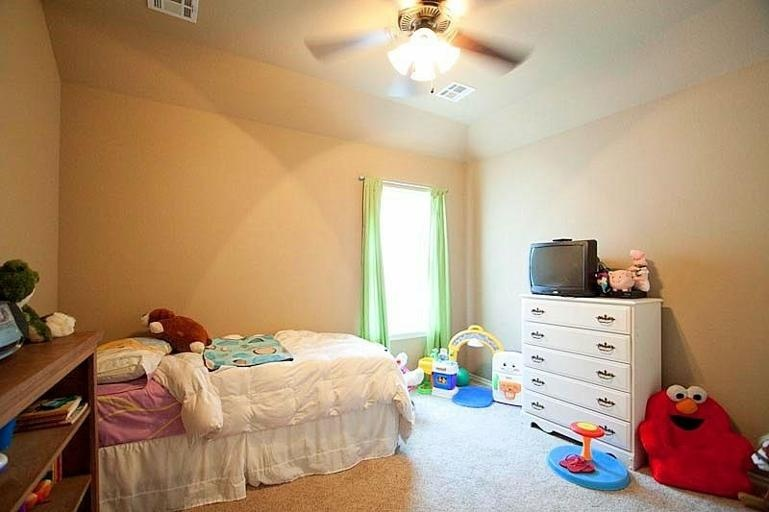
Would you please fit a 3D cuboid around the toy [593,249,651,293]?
[{"bbox_3d":[2.222,0.164,4.736,0.393,0.447,0.459,1,-3,9],"label":"toy"}]

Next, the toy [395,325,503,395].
[{"bbox_3d":[0.680,1.106,5.849,1.029,1.088,0.703,1,-4,-22],"label":"toy"}]

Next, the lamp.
[{"bbox_3d":[0.339,-1.714,4.133,0.534,0.591,0.587,1,2,7],"label":"lamp"}]

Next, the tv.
[{"bbox_3d":[1.797,0.106,5.011,0.363,0.559,0.636,1,-2,-41],"label":"tv"}]

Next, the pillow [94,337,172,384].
[{"bbox_3d":[-2.050,0.836,4.133,0.533,0.274,0.574,0,1,-24],"label":"pillow"}]

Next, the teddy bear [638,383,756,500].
[{"bbox_3d":[2.629,1.562,4.179,0.852,0.885,0.273,0,-34,25],"label":"teddy bear"}]

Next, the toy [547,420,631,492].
[{"bbox_3d":[1.746,1.619,4.243,0.518,0.307,0.524,-2,5,-6],"label":"toy"}]

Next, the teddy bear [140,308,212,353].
[{"bbox_3d":[-1.828,0.738,4.454,0.496,0.179,0.360,26,12,-26],"label":"teddy bear"}]
